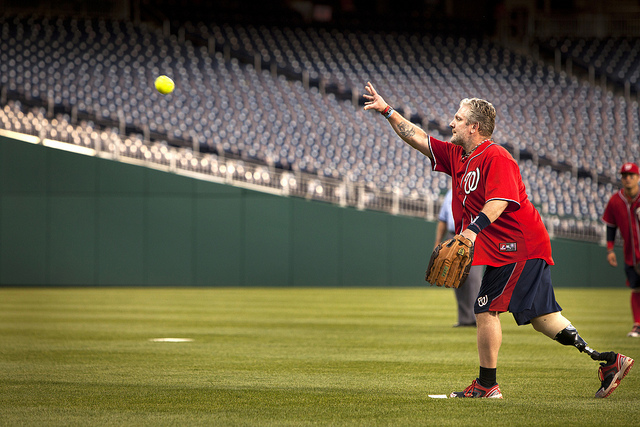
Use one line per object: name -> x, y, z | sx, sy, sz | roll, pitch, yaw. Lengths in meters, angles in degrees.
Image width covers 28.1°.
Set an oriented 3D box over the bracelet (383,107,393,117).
bracelet -> 1.466, -2.153, 27.187 | 0.122, 0.167, 0.170 | 27, 33, -19
